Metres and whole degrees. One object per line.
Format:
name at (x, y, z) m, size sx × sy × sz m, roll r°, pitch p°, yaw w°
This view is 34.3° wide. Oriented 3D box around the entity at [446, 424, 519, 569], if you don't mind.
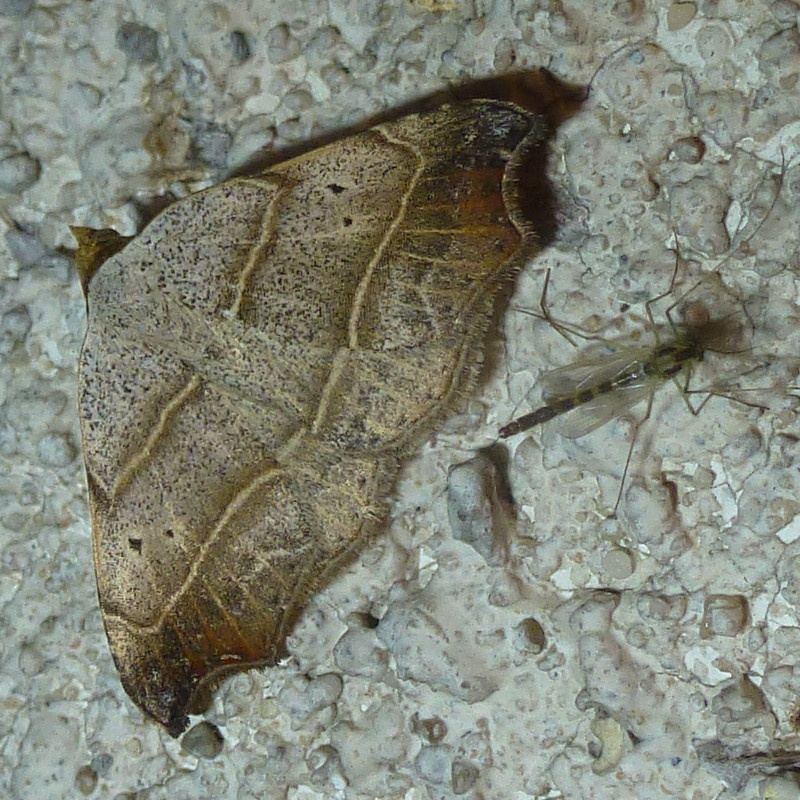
entity at (0.199, 0.243, 3.107) m, size 0.162 × 0.072 × 0.270 m, roll -10°, pitch 83°, yaw -16°
